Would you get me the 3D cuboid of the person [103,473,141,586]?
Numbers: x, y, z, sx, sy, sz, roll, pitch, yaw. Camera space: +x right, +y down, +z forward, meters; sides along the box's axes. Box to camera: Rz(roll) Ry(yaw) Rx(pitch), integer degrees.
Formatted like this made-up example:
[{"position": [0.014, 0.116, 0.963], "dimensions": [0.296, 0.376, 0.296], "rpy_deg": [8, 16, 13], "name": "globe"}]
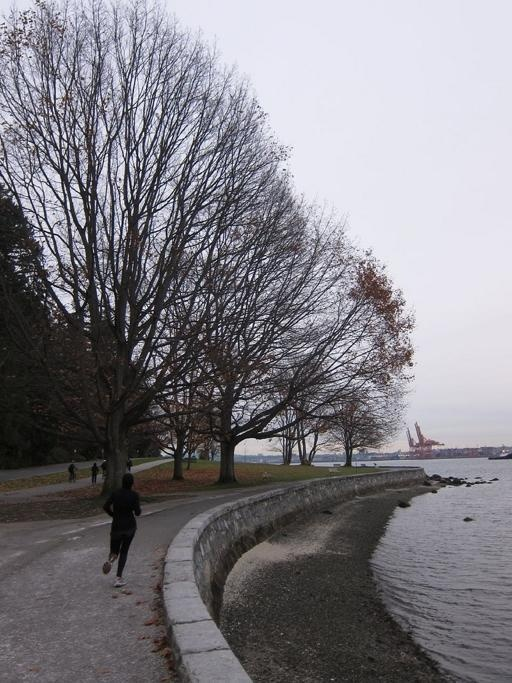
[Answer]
[{"position": [-1.966, 2.687, 7.530], "dimensions": [0.516, 1.478, 1.053], "rpy_deg": [5, -11, -10], "name": "person"}]
